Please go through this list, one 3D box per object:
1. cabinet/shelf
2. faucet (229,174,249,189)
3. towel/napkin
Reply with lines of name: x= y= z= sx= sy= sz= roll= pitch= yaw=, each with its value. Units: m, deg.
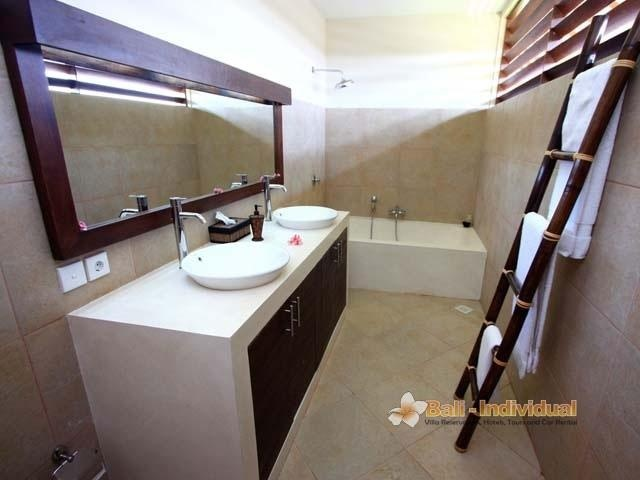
cabinet/shelf: x=-0.140 y=0.631 z=2.431 sx=0.188 sy=0.560 sz=1.170 roll=2 pitch=26 yaw=18
faucet: x=-0.518 y=-0.385 z=2.900 sx=0.066 sy=0.119 sz=0.116 roll=7 pitch=10 yaw=20
towel/napkin: x=1.067 y=0.032 z=2.200 sx=0.458 sy=1.702 sz=0.396 roll=0 pitch=16 yaw=-1
